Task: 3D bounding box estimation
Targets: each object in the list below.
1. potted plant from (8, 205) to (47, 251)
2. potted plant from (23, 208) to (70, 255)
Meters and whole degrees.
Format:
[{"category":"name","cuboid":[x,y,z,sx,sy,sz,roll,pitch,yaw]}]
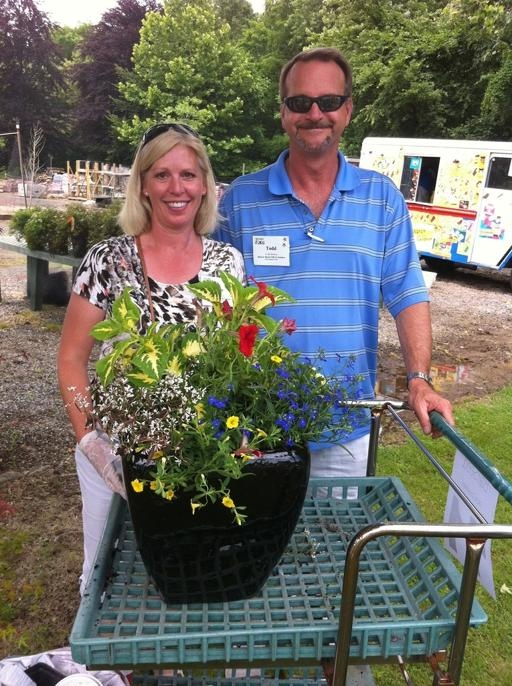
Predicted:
[{"category":"potted plant","cuboid":[-3.142,-1.591,7.878,0.499,0.466,0.548,-3,12,20]},{"category":"potted plant","cuboid":[-2.966,-1.539,7.695,0.575,0.520,0.548,5,9,31]}]
